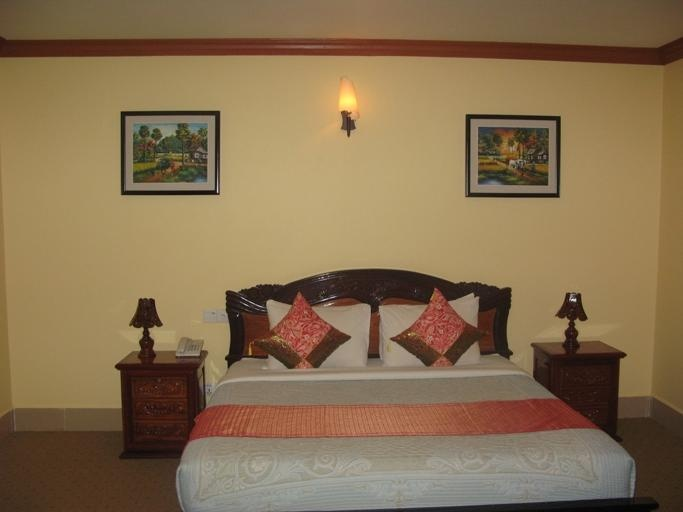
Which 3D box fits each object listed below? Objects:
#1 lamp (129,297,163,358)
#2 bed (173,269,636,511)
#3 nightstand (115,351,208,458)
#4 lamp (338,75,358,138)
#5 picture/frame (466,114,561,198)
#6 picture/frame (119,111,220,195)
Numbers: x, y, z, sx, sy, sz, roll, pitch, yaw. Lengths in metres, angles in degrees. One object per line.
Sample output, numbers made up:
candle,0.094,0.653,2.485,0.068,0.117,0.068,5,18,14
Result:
lamp,-1.738,0.653,4.983,0.238,0.512,0.354,-4,9,-34
bed,0.351,1.273,4.365,2.461,1.063,1.922,0,6,-3
nightstand,-1.572,1.320,5.211,0.972,1.071,0.766,0,0,-3
lamp,0.069,-1.372,5.152,0.198,0.514,0.198,1,7,0
picture/frame,1.603,-0.982,5.304,0.858,0.671,0.036,0,1,-4
picture/frame,-1.625,-0.990,5.186,0.828,0.646,0.039,1,5,0
